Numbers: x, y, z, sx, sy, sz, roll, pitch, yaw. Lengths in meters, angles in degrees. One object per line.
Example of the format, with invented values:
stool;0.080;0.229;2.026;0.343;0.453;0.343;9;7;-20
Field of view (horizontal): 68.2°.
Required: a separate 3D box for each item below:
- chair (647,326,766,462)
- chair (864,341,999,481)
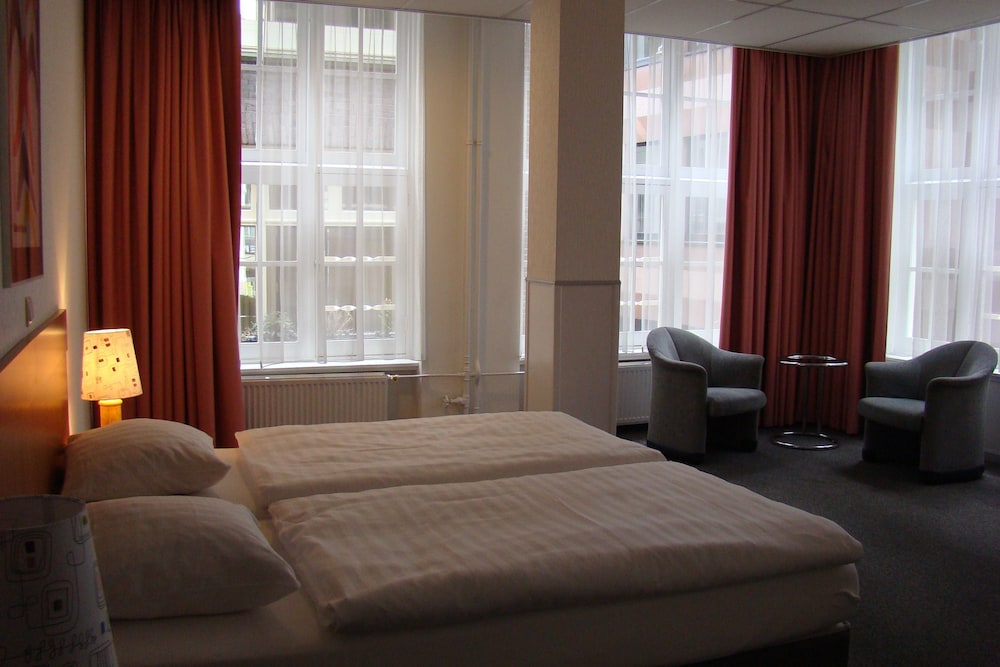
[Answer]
chair;1.764;0.440;6.694;1.147;1.183;1.091;-2;2;-36
chair;3.518;0.564;6.287;1.118;1.216;1.038;-1;4;-15
